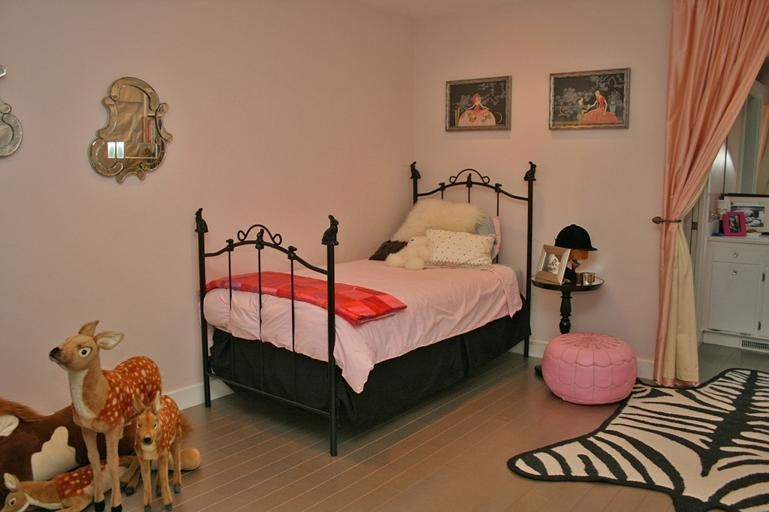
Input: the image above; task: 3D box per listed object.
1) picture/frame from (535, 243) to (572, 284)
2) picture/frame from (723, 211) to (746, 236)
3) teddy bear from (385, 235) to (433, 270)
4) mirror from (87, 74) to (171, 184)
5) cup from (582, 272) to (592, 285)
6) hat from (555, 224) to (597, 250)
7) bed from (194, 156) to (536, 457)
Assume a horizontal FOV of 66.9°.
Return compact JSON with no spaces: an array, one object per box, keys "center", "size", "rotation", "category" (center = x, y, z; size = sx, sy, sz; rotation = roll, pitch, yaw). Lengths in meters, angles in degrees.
[{"center":[1.412,0.075,4.809],"size":[0.036,0.328,0.326],"rotation":[22,-7,-24],"category":"picture/frame"},{"center":[3.446,-0.308,5.736],"size":[0.212,0.203,0.022],"rotation":[-3,0,4],"category":"picture/frame"},{"center":[0.258,-0.018,5.072],"size":[0.257,0.102,0.324],"rotation":[13,36,34],"category":"teddy bear"},{"center":[-1.766,-0.875,3.971],"size":[0.124,0.983,0.700],"rotation":[7,9,44],"category":"mirror"},{"center":[1.678,0.191,4.777],"size":[0.079,0.081,0.081],"rotation":[3,7,0],"category":"cup"},{"center":[1.578,-0.167,4.821],"size":[0.247,0.158,0.214],"rotation":[2,7,23],"category":"hat"},{"center":[-0.002,0.140,4.996],"size":[1.709,1.993,2.765],"rotation":[5,8,41],"category":"bed"}]
